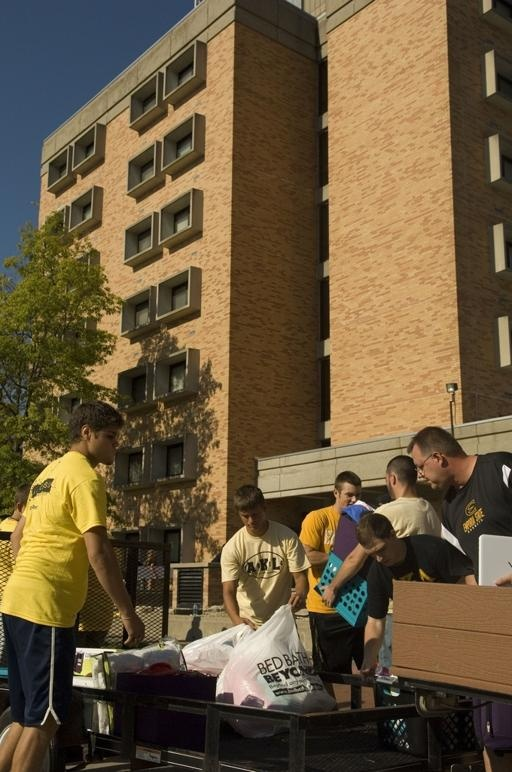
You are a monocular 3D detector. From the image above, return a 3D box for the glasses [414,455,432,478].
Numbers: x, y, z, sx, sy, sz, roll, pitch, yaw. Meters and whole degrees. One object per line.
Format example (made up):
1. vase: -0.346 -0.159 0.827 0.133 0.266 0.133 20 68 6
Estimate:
1. glasses: 0.823 0.409 3.948 0.045 0.143 0.142 -7 -5 9
